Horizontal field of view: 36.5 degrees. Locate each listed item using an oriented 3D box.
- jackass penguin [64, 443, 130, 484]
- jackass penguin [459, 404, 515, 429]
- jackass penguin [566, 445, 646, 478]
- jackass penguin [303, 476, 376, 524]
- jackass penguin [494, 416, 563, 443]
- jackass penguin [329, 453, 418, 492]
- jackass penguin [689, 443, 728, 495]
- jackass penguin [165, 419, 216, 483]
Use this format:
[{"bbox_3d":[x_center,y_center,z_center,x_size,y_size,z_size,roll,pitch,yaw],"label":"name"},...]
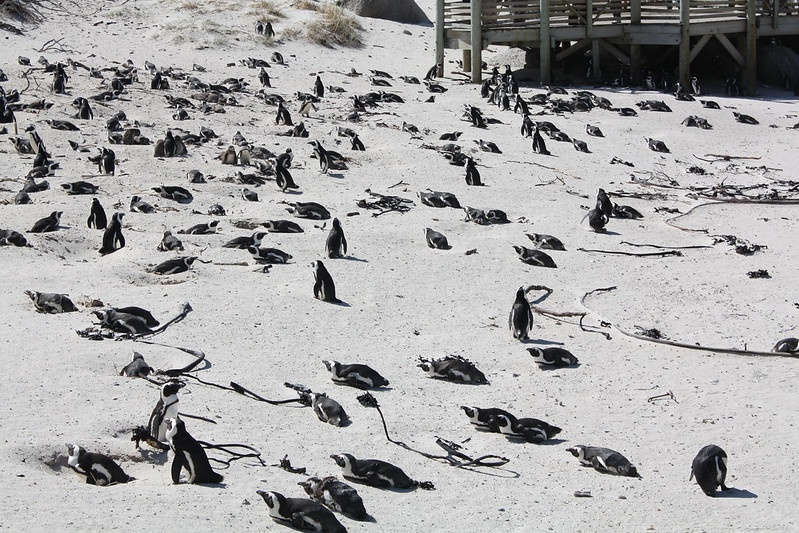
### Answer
[{"bbox_3d":[-4.185,2.701,16.561,1.059,0.476,0.355,5,1,4],"label":"jackass penguin"},{"bbox_3d":[1.265,2.193,17.600,0.571,0.194,0.350,4,-4,0],"label":"jackass penguin"},{"bbox_3d":[2.860,2.730,17.087,1.058,0.338,0.216,6,15,15],"label":"jackass penguin"},{"bbox_3d":[-0.929,3.080,16.387,1.129,0.392,0.498,9,5,29],"label":"jackass penguin"},{"bbox_3d":[1.846,2.341,17.489,0.940,0.334,0.370,2,-6,4],"label":"jackass penguin"},{"bbox_3d":[-0.376,2.844,16.844,1.357,0.395,0.445,11,0,4],"label":"jackass penguin"},{"bbox_3d":[4.376,2.824,16.964,0.661,0.654,1.052,-10,-11,6],"label":"jackass penguin"},{"bbox_3d":[-2.835,2.558,16.400,0.854,0.951,0.498,3,-2,1],"label":"jackass penguin"}]
